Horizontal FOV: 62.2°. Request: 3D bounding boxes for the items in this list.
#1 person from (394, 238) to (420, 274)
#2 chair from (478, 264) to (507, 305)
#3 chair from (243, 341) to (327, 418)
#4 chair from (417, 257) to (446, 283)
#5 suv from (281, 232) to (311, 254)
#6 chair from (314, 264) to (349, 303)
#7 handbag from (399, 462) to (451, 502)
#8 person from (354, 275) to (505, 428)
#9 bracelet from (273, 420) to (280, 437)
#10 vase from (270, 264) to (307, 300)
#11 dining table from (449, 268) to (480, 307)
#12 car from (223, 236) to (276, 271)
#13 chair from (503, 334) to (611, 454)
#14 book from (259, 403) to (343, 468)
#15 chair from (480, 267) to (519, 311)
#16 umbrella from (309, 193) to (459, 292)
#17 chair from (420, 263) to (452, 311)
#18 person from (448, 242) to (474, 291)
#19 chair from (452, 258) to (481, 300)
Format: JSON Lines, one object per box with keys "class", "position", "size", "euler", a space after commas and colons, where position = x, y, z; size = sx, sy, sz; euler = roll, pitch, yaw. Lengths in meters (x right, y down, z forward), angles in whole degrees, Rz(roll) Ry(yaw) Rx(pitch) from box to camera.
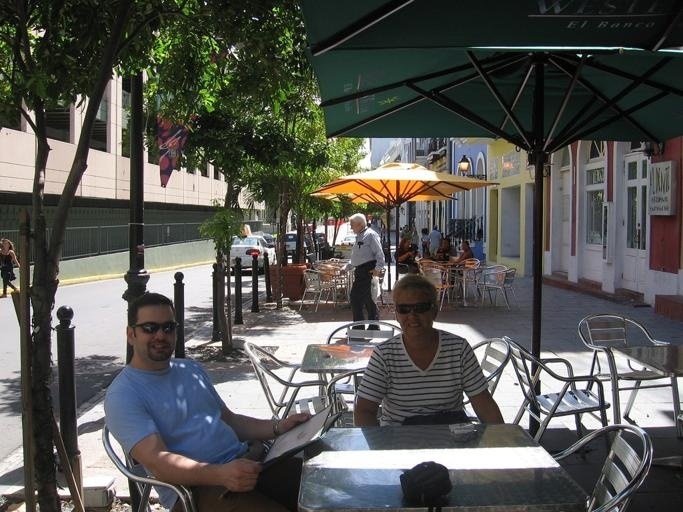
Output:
{"class": "person", "position": [1.966, 0.102, 16.867], "size": [0.691, 1.371, 0.613], "euler": [-1, -2, 36]}
{"class": "chair", "position": [3.680, 0.733, 13.783], "size": [0.679, 0.872, 0.683], "euler": [4, 3, 35]}
{"class": "chair", "position": [-0.619, 1.332, 5.990], "size": [0.733, 1.117, 0.699], "euler": [-6, 9, -14]}
{"class": "chair", "position": [1.977, 0.294, 12.306], "size": [0.411, 0.599, 0.410], "euler": [9, 22, 33]}
{"class": "suv", "position": [-2.916, -0.946, 33.925], "size": [1.278, 1.306, 2.445], "euler": [-1, 10, 8]}
{"class": "chair", "position": [-0.319, 0.671, 14.455], "size": [0.860, 1.288, 0.977], "euler": [-5, -2, 26]}
{"class": "handbag", "position": [0.376, 1.054, 2.628], "size": [0.170, 0.139, 0.187], "euler": [-15, -25, -28]}
{"class": "person", "position": [0.519, 0.767, 3.663], "size": [0.871, 1.291, 0.694], "euler": [-5, 10, 6]}
{"class": "bracelet", "position": [-0.422, 1.105, 3.660], "size": [0.035, 0.077, 0.062], "euler": [2, 2, 4]}
{"class": "vase", "position": [-1.326, 0.735, 15.340], "size": [0.614, 0.840, 0.750], "euler": [0, -3, -2]}
{"class": "dining table", "position": [3.223, 0.890, 14.811], "size": [0.923, 1.392, 1.083], "euler": [2, 0, 13]}
{"class": "car", "position": [-3.992, -0.231, 25.572], "size": [1.618, 1.278, 3.727], "euler": [0, 7, 6]}
{"class": "chair", "position": [1.883, 1.226, 4.939], "size": [0.764, 1.104, 0.725], "euler": [-5, 2, -3]}
{"class": "book", "position": [-0.243, 1.099, 3.451], "size": [0.487, 0.065, 0.623], "euler": [-37, -6, 27]}
{"class": "chair", "position": [3.807, 0.686, 13.827], "size": [0.643, 0.914, 0.679], "euler": [4, 12, 23]}
{"class": "umbrella", "position": [1.369, -0.787, 14.461], "size": [2.906, 1.897, 3.085], "euler": [-1, 2, 13]}
{"class": "chair", "position": [2.212, 0.633, 13.550], "size": [0.801, 1.162, 0.774], "euler": [5, 15, 20]}
{"class": "person", "position": [3.223, 0.274, 15.633], "size": [0.734, 1.434, 0.548], "euler": [9, -9, -2]}
{"class": "chair", "position": [3.299, 0.587, 15.009], "size": [0.858, 1.297, 1.021], "euler": [0, 2, -6]}
